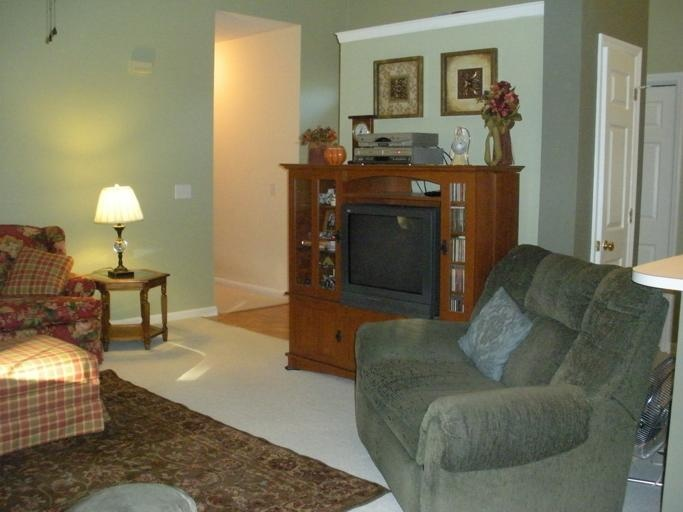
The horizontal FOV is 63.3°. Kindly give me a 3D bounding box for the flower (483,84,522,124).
[{"bbox_3d":[1.088,-1.033,3.857,0.291,0.283,0.295,1,6,36],"label":"flower"}]

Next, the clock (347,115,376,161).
[{"bbox_3d":[0.176,-1.056,4.878,0.239,0.375,0.348,1,10,1],"label":"clock"}]

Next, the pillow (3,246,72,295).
[{"bbox_3d":[-2.403,0.125,4.349,0.382,0.391,0.122,7,-37,-3],"label":"pillow"}]

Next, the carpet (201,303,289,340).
[{"bbox_3d":[-0.950,0.659,5.865,0.795,0.009,1.337,1,9,-4],"label":"carpet"}]

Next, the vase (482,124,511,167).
[{"bbox_3d":[1.077,-0.739,3.745,0.184,0.252,0.238,4,10,16],"label":"vase"}]

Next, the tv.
[{"bbox_3d":[0.363,0.025,3.813,0.814,0.736,0.452,4,6,44],"label":"tv"}]

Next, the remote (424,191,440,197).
[{"bbox_3d":[0.640,-0.427,3.857,0.072,0.024,0.049,-2,5,-18],"label":"remote"}]

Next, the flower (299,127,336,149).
[{"bbox_3d":[-0.185,-0.972,4.507,0.190,0.169,0.357,-8,13,-42],"label":"flower"}]

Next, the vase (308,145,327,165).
[{"bbox_3d":[-0.222,-0.818,4.465,0.184,0.177,0.181,1,3,-10],"label":"vase"}]

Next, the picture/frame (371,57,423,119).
[{"bbox_3d":[0.490,-1.420,4.668,0.553,0.510,0.049,7,14,39],"label":"picture/frame"}]
